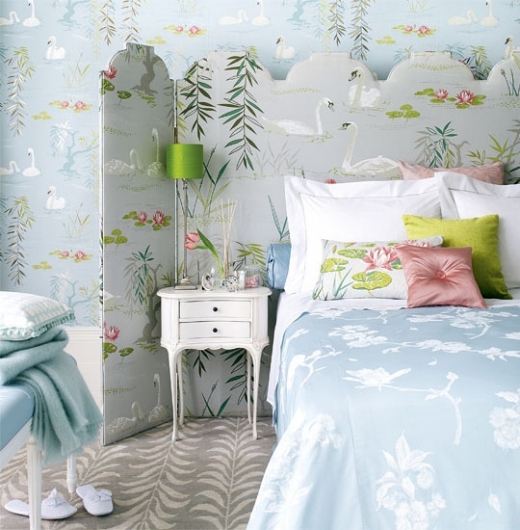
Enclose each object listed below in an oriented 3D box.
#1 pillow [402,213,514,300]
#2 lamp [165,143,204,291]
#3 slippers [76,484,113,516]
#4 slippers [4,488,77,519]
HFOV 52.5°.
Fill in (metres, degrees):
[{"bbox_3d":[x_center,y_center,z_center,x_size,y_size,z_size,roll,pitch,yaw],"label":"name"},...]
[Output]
[{"bbox_3d":[0.853,-0.024,2.246,0.406,0.329,0.141,-2,-12,4],"label":"pillow"},{"bbox_3d":[-0.398,-0.275,2.807,0.206,0.747,0.274,-1,7,-6],"label":"lamp"},{"bbox_3d":[-0.636,0.903,2.040,0.078,0.025,0.123,-5,8,-32],"label":"slippers"},{"bbox_3d":[-0.827,0.903,1.986,0.184,0.048,0.122,1,6,5],"label":"slippers"}]
